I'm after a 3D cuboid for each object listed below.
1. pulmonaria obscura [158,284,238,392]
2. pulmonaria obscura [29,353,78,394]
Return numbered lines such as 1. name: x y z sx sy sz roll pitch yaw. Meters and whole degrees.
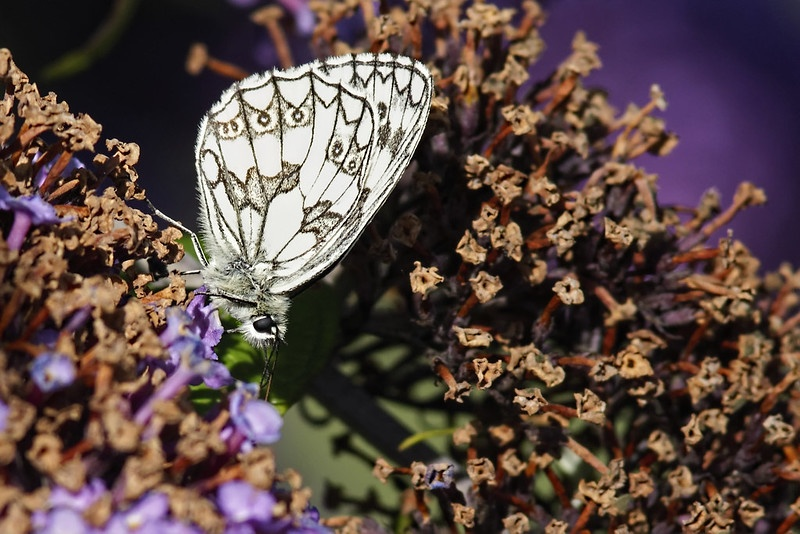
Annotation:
1. pulmonaria obscura: -0.354 0.130 1.831 0.153 0.073 0.149 -43 116 -64
2. pulmonaria obscura: -0.563 0.171 1.657 0.064 0.025 0.096 23 30 -18
